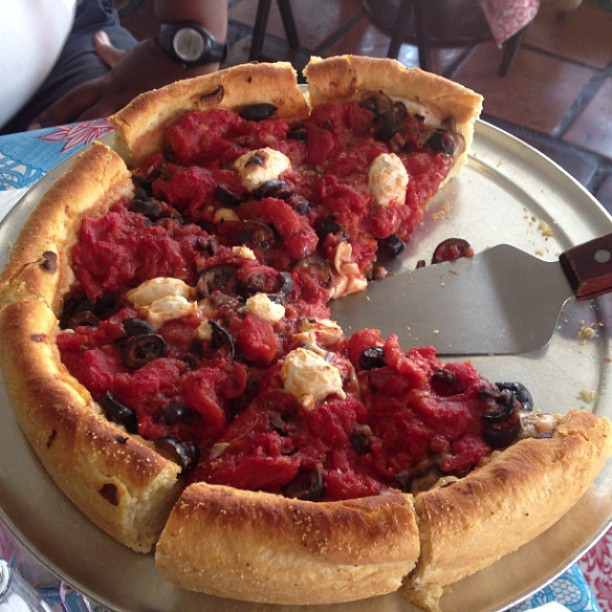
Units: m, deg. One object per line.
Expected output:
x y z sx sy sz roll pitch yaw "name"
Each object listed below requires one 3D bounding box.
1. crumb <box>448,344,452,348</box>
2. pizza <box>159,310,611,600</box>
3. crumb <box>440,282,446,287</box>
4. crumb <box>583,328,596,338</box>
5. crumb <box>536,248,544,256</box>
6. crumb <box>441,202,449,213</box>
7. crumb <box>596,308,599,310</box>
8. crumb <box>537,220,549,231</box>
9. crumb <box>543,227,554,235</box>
0.677 0.187 3.214 0.014 0.003 0.012 -16 32 -16 "crumb"
0.314 0.681 2.697 1.323 0.615 1.232 29 78 5 "pizza"
0.685 -0.108 3.430 0.027 0.024 0.012 -2 94 -1 "crumb"
1.355 0.128 3.264 0.055 0.013 0.040 9 62 4 "crumb"
1.234 -0.288 3.604 0.032 0.009 0.036 29 55 26 "crumb"
0.784 -0.554 3.855 0.062 0.015 0.047 16 79 20 "crumb"
1.427 0.014 3.347 0.011 0.002 0.008 -3 71 -1 "crumb"
1.286 -0.441 3.722 0.067 0.015 0.054 -15 38 8 "crumb"
1.308 -0.400 3.685 0.049 0.012 0.038 7 46 12 "crumb"
